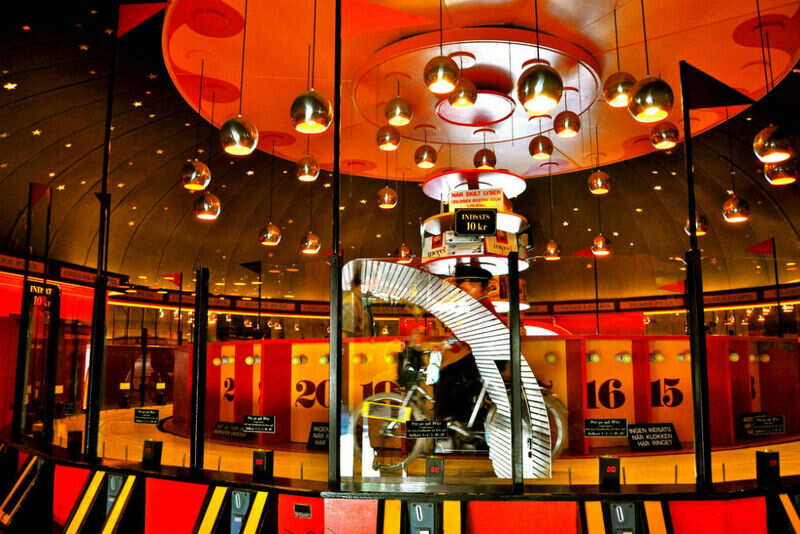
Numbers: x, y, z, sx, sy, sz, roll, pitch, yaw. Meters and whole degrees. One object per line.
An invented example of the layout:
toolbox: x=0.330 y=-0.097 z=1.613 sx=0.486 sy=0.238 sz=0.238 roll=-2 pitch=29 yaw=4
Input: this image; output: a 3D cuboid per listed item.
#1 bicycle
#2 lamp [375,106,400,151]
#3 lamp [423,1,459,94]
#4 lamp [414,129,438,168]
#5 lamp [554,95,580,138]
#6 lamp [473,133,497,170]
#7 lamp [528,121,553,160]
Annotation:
bicycle: x=0.761 y=1.730 z=8.401 sx=2.680 sy=1.553 sz=1.081 roll=0 pitch=-14 yaw=-3
lamp: x=-0.163 y=-2.132 z=11.670 sx=0.438 sy=0.603 sz=0.444 roll=-1 pitch=-4 yaw=23
lamp: x=0.638 y=-3.181 z=10.521 sx=0.464 sy=1.775 sz=0.999 roll=0 pitch=-21 yaw=5
lamp: x=0.451 y=-2.116 z=12.563 sx=0.470 sy=0.793 sz=0.469 roll=1 pitch=-4 yaw=-8
lamp: x=2.601 y=-2.282 z=11.289 sx=0.460 sy=0.485 sz=0.483 roll=9 pitch=-14 yaw=-16
lamp: x=1.489 y=-2.034 z=12.707 sx=0.367 sy=0.774 sz=0.377 roll=-15 pitch=-26 yaw=39
lamp: x=2.366 y=-2.195 z=12.158 sx=0.461 sy=0.661 sz=0.451 roll=0 pitch=-2 yaw=-12
